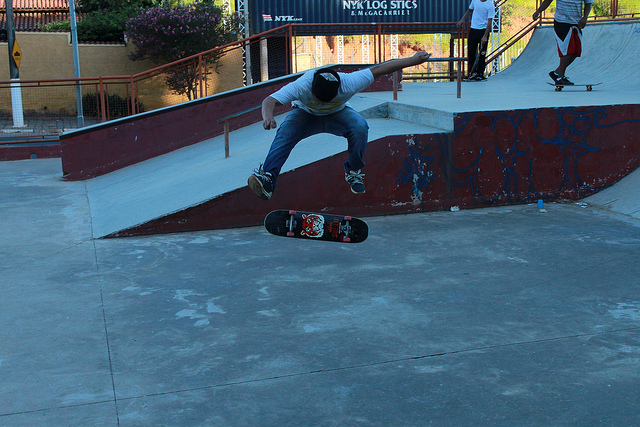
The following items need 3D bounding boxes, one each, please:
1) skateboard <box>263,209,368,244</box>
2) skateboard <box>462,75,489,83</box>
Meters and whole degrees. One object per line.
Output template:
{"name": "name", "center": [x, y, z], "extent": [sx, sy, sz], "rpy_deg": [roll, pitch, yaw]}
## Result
{"name": "skateboard", "center": [-0.015, 0.163, 10.309], "extent": [1.700, 0.348, 0.223], "rpy_deg": [6, 0, 35]}
{"name": "skateboard", "center": [3.390, -2.898, 16.759], "extent": [0.667, 0.188, 0.187], "rpy_deg": [0, 13, 7]}
